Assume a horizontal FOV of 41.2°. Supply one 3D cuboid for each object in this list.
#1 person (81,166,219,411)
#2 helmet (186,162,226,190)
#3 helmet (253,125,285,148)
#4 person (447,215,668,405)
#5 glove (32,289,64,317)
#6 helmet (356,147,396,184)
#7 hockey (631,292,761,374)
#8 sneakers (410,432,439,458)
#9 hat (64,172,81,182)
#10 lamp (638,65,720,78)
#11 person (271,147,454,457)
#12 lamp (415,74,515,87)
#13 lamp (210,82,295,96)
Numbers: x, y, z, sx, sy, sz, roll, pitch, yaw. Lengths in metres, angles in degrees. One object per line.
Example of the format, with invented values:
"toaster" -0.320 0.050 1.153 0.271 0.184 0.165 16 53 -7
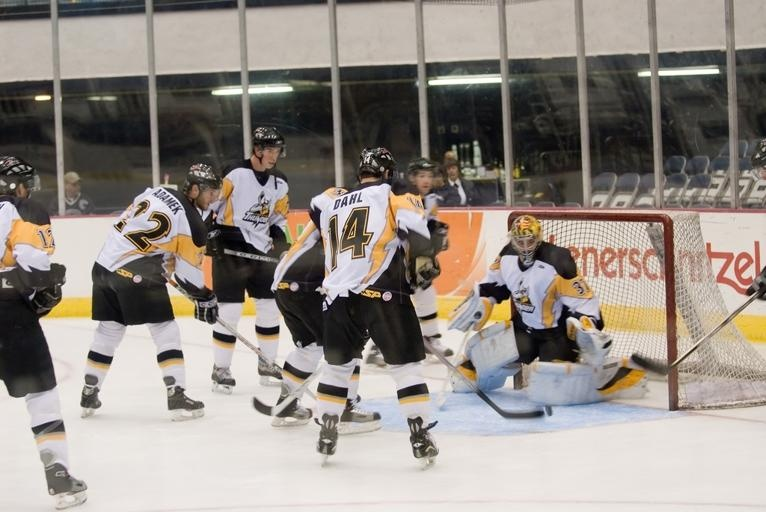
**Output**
"person" -1.725 0.274 7.586 1.059 1.741 0.460 -2 1 -11
"helmet" -1.370 -0.605 7.696 0.217 0.216 0.170 -8 11 -13
"helmet" -0.926 -0.960 8.200 0.227 0.217 0.179 -8 20 -7
"person" 1.193 0.410 7.770 1.543 1.436 0.860 8 17 36
"glove" -2.113 0.281 6.423 0.188 0.139 0.085 -43 -17 1
"helmet" -0.077 -0.619 6.958 0.211 0.252 0.250 12 13 42
"hockey" 2.280 0.587 7.489 0.925 0.417 0.452 -2 1 13
"sneakers" 0.258 1.224 6.543 0.105 0.216 0.136 -13 -8 4
"hat" -3.667 -0.923 11.981 0.245 0.120 0.158 0 4 23
"lamp" 3.035 -1.886 10.371 0.875 0.160 0.092 5 1 30
"person" -0.074 0.424 6.691 0.771 1.612 0.354 -2 1 -1
"lamp" 0.940 -1.936 11.208 1.093 0.197 0.087 3 1 18
"lamp" -1.488 -1.939 11.826 0.919 0.146 0.093 1 -2 2
